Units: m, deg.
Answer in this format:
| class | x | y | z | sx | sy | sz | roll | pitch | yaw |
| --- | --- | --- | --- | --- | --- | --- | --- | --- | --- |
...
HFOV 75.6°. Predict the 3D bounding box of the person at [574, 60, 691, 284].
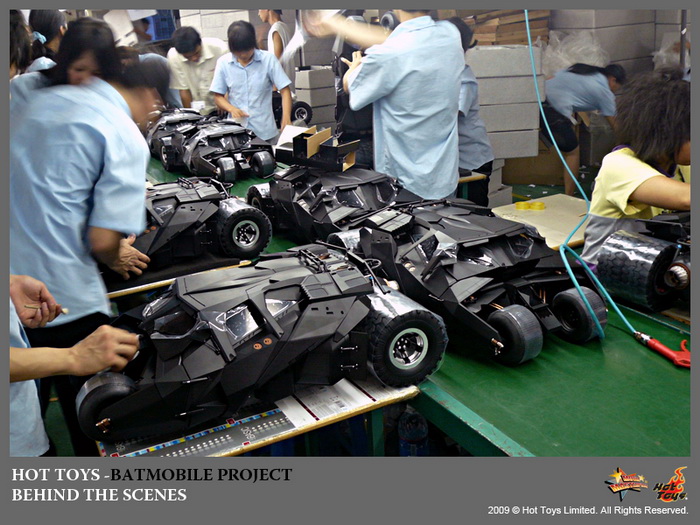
| class | x | y | z | sx | sy | sz | roll | pitch | yaw |
| --- | --- | --- | --- | --- | --- | --- | --- | --- | --- |
| person | 1.996 | -0.621 | 3.115 | 0.593 | 1.311 | 0.711 | 6 | 19 | 25 |
